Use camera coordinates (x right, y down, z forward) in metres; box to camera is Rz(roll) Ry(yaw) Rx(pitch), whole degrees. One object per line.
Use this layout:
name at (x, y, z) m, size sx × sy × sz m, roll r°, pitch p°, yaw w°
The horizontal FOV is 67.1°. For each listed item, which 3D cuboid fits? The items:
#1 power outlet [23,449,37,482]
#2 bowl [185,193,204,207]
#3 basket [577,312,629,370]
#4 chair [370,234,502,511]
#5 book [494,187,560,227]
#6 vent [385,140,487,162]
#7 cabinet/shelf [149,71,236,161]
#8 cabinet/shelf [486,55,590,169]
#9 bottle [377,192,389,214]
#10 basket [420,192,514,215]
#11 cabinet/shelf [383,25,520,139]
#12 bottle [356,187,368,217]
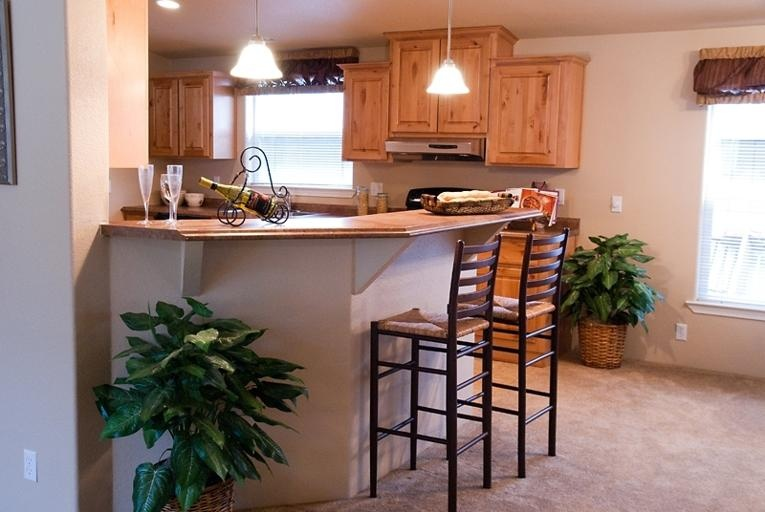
power outlet at (-1.817, 1.079, 2.964) m, size 0.100 × 0.160 × 0.027 m, roll 7°, pitch 14°, yaw 21°
bowl at (-2.141, -0.616, 6.532) m, size 0.186 × 0.123 × 0.177 m, roll 1°, pitch 0°, yaw 0°
basket at (1.979, 0.802, 5.199) m, size 0.448 × 0.345 × 0.416 m, roll -7°, pitch -15°, yaw 44°
chair at (0.414, 0.570, 3.429) m, size 0.663 × 1.479 × 1.125 m, roll 9°, pitch 15°, yaw 28°
book at (1.300, -0.465, 4.908) m, size 0.409 × 0.493 × 0.243 m, roll 4°, pitch 11°, yaw 18°
vent at (0.484, -1.007, 5.503) m, size 0.947 × 0.217 × 0.433 m, roll 3°, pitch 13°, yaw 8°
cabinet/shelf at (-2.146, -1.557, 6.648) m, size 1.117 × 0.950 × 0.629 m, roll 6°, pitch 9°, yaw 25°
cabinet/shelf at (1.342, -1.310, 5.130) m, size 0.996 × 1.155 × 0.677 m, roll 5°, pitch 6°, yaw 37°
bottle at (-0.018, -0.541, 5.909) m, size 0.113 × 0.192 × 0.119 m, roll 1°, pitch 13°, yaw 0°
basket at (0.520, -0.303, 3.519) m, size 0.359 × 0.086 × 0.219 m, roll -4°, pitch 6°, yaw -23°
cabinet/shelf at (0.484, -1.560, 5.625) m, size 1.221 × 1.054 × 0.678 m, roll 0°, pitch 8°, yaw -12°
bottle at (-0.209, -0.570, 5.971) m, size 0.113 × 0.263 × 0.187 m, roll 1°, pitch 13°, yaw -3°
